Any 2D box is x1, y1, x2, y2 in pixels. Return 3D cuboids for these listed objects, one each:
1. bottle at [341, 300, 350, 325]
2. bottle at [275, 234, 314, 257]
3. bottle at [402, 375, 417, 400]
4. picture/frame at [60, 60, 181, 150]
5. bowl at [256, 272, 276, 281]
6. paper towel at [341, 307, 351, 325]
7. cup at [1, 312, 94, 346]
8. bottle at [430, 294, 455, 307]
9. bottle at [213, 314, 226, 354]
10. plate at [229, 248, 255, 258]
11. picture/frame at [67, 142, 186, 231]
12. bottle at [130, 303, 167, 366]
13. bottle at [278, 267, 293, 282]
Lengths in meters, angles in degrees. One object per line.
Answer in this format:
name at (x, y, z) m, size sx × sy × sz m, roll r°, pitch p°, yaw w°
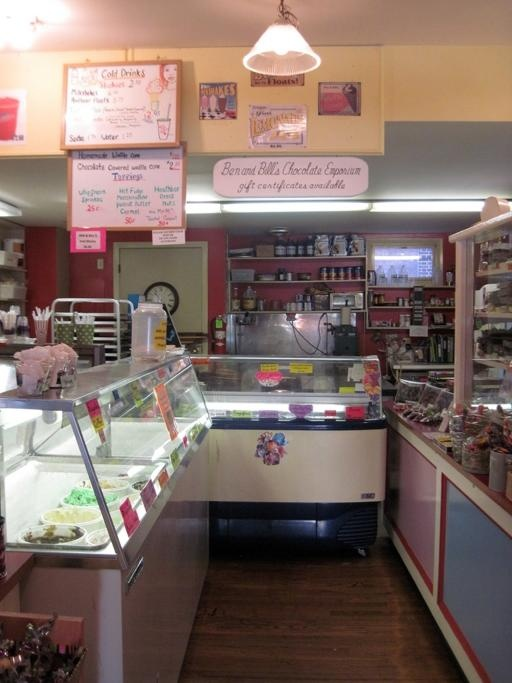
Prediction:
bottle at (1.158, -0.349, 6.823) m, size 0.191 × 0.371 × 0.205 m, roll 0°, pitch 0°, yaw 0°
bottle at (0.512, -1.191, 6.755) m, size 0.321 × 0.180 × 0.324 m, roll -1°, pitch 5°, yaw 0°
bottle at (0.973, 0.288, 3.360) m, size 0.126 × 0.121 × 0.101 m, roll 8°, pitch 3°, yaw 44°
picture/frame at (-0.653, -1.185, 2.634) m, size 0.451 × 0.313 × 0.048 m, roll 0°, pitch 1°, yaw 3°
bowl at (0.129, -0.832, 6.873) m, size 0.259 × 0.100 × 0.138 m, roll 0°, pitch 3°, yaw 6°
paper towel at (1.151, -0.337, 6.790) m, size 0.104 × 0.211 × 0.204 m, roll 0°, pitch 3°, yaw 7°
cup at (-1.566, -0.102, 4.004) m, size 0.340 × 0.226 × 0.179 m, roll 0°, pitch 6°, yaw 3°
bottle at (2.494, -0.561, 7.192) m, size 0.335 × 0.169 × 0.161 m, roll 1°, pitch -10°, yaw -2°
bottle at (-0.430, -0.093, 6.308) m, size 0.145 × 0.428 × 0.302 m, roll 0°, pitch 3°, yaw -4°
plate at (-0.124, -1.146, 6.852) m, size 0.400 × 0.138 × 0.228 m, roll -3°, pitch 4°, yaw -43°
picture/frame at (-0.643, -0.810, 2.711) m, size 0.444 × 0.297 × 0.018 m, roll 0°, pitch 4°, yaw 0°
bottle at (-0.474, -0.053, 2.375) m, size 0.137 × 0.238 × 0.075 m, roll -2°, pitch 3°, yaw -29°
bottle at (0.400, -0.872, 6.905) m, size 0.142 × 0.219 × 0.220 m, roll -5°, pitch 5°, yaw -44°
